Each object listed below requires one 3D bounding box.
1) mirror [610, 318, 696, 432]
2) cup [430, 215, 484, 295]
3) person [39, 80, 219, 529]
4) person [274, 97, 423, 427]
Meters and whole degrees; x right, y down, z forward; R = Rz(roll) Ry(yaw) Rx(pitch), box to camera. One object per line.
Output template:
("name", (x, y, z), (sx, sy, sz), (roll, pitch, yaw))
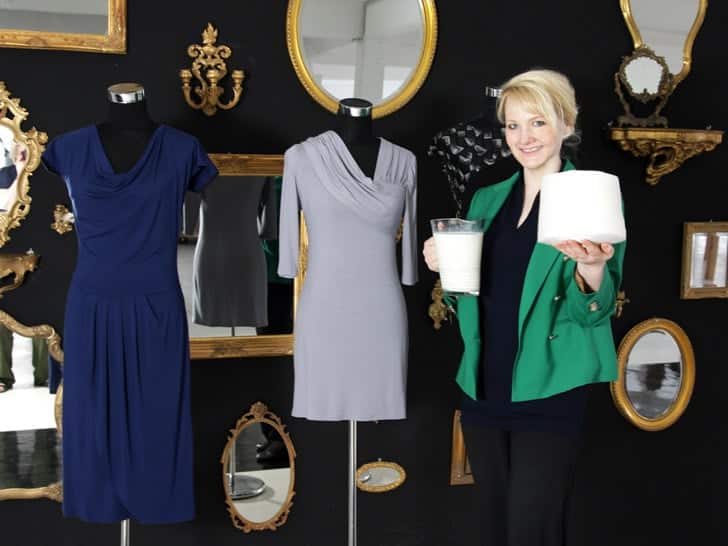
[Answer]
("mirror", (1.561, 0.542, 4.869), (0.744, 0.709, 0.058), (-4, 7, -19))
("cup", (0.376, -0.066, 3.563), (0.200, 0.307, 0.177), (0, 1, 4))
("person", (-1.022, 0.132, 3.903), (0.707, 1.916, 0.206), (-1, 1, -18))
("person", (-0.067, -0.066, 4.060), (0.633, 1.443, 0.229), (0, 1, -2))
